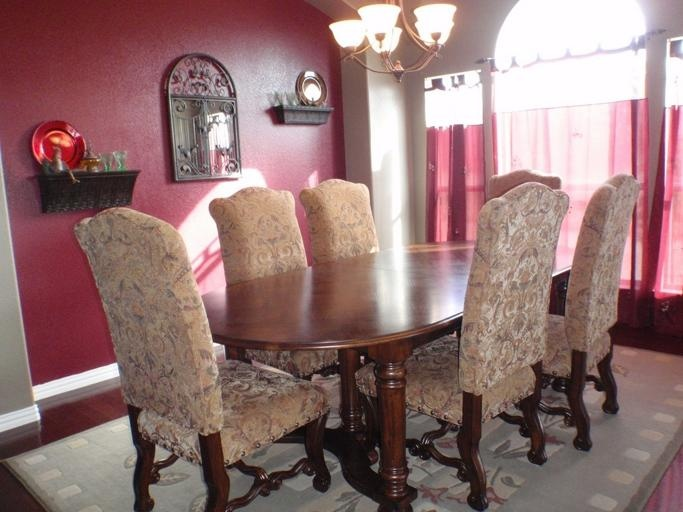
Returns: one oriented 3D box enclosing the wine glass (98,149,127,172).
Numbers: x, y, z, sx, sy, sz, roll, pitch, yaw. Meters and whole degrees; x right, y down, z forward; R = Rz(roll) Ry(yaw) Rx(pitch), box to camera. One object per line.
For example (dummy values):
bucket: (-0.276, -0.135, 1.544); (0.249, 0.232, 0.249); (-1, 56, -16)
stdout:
wine glass: (-1.623, -0.671, 3.670); (0.179, 0.162, 0.172); (1, 6, 29)

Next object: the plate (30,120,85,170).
plate: (-1.913, -0.747, 3.501); (0.337, 0.332, 0.156); (-11, 14, -28)

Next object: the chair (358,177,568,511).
chair: (0.655, 0.394, 2.397); (0.749, 1.450, 0.443); (-11, 15, -29)

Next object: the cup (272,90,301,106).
cup: (-0.527, -1.450, 4.790); (0.216, 0.098, 0.172); (-9, 12, -33)

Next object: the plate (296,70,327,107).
plate: (-0.295, -1.615, 4.989); (0.088, 0.334, 0.380); (6, 16, 37)
